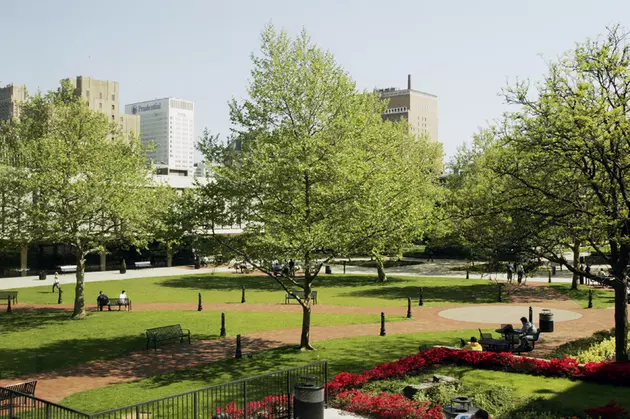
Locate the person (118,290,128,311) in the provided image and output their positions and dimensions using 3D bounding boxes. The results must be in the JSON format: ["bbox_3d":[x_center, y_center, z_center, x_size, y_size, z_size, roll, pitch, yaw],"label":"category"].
[{"bbox_3d":[-12.937,6.055,48.553,0.673,1.244,1.696,1,-3,-15],"label":"person"}]

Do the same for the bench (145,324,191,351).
[{"bbox_3d":[-8.142,6.932,39.868,1.608,1.136,3.149,-2,-3,43],"label":"bench"}]

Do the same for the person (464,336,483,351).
[{"bbox_3d":[7.695,6.740,35.650,0.906,0.697,0.912,2,2,38],"label":"person"}]

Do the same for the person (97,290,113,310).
[{"bbox_3d":[-13.971,6.005,47.704,0.993,1.245,0.651,-1,-3,38],"label":"person"}]

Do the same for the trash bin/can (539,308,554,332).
[{"bbox_3d":[12.637,6.225,39.819,1.073,1.033,0.530,2,-3,-40],"label":"trash bin/can"}]
